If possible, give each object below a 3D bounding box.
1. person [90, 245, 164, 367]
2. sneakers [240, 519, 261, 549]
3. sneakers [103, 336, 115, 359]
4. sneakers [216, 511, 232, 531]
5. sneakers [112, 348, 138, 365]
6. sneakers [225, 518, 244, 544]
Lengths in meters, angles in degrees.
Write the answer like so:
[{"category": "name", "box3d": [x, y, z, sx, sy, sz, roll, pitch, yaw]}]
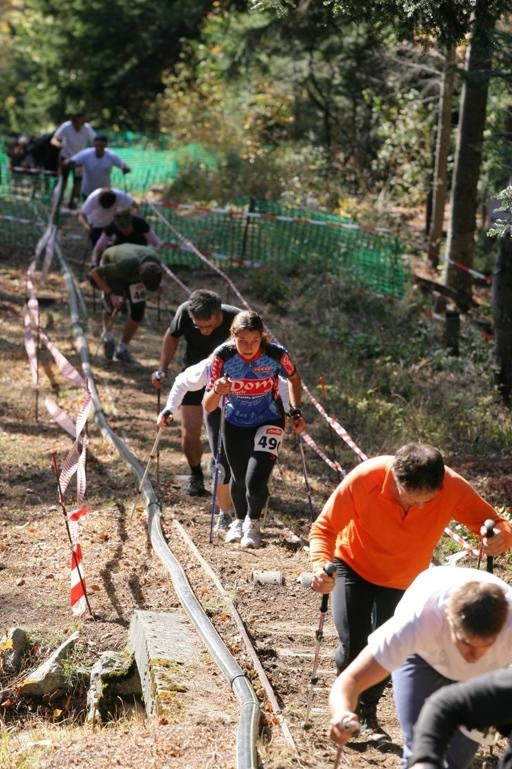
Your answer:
[{"category": "person", "box3d": [-1.501, -0.864, 10.148, 0.732, 1.422, 1.756, 4, 9, -11]}, {"category": "sneakers", "box3d": [-0.035, 1.078, 6.624, 0.097, 0.114, 0.275, 0, 5, -1]}, {"category": "sneakers", "box3d": [-1.745, -0.435, 10.786, 0.108, 0.270, 0.118, -5, 11, -10]}, {"category": "sneakers", "box3d": [-0.251, 1.065, 7.086, 0.069, 0.080, 0.193, 2, 18, 9]}, {"category": "sneakers", "box3d": [-1.579, -0.337, 10.920, 0.300, 0.120, 0.146, 23, 26, -11]}, {"category": "sneakers", "box3d": [-0.162, 1.089, 6.762, 0.083, 0.101, 0.229, 2, 45, 7]}]
